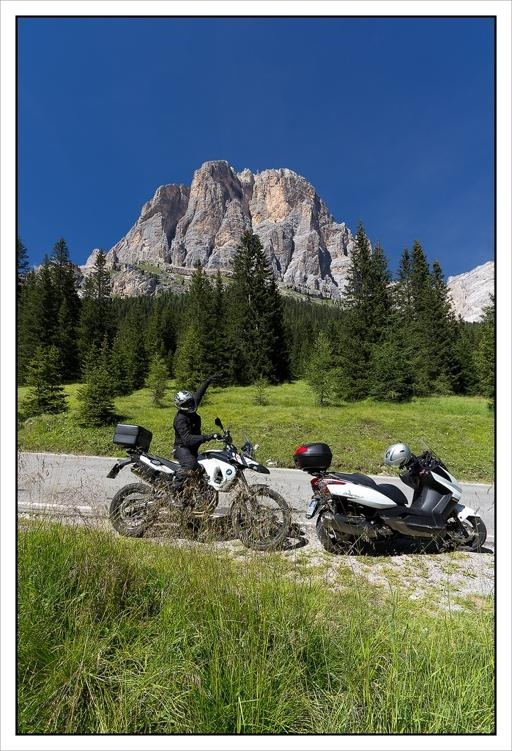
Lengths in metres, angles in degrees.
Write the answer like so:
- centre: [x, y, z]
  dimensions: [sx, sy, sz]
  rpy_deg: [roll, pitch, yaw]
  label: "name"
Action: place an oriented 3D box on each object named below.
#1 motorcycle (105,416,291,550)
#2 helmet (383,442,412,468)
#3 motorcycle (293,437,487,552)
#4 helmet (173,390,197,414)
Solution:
- centre: [-0.629, 1.144, 6.438]
  dimensions: [2.181, 1.986, 1.056]
  rpy_deg: [0, -18, 5]
  label: "motorcycle"
- centre: [1.569, 0.884, 6.595]
  dimensions: [0.250, 0.280, 0.238]
  rpy_deg: [7, -2, -2]
  label: "helmet"
- centre: [1.306, 1.395, 6.800]
  dimensions: [2.332, 1.808, 1.010]
  rpy_deg: [-2, -12, -7]
  label: "motorcycle"
- centre: [-0.832, 0.281, 6.882]
  dimensions: [0.226, 0.242, 0.198]
  rpy_deg: [15, 30, 40]
  label: "helmet"
